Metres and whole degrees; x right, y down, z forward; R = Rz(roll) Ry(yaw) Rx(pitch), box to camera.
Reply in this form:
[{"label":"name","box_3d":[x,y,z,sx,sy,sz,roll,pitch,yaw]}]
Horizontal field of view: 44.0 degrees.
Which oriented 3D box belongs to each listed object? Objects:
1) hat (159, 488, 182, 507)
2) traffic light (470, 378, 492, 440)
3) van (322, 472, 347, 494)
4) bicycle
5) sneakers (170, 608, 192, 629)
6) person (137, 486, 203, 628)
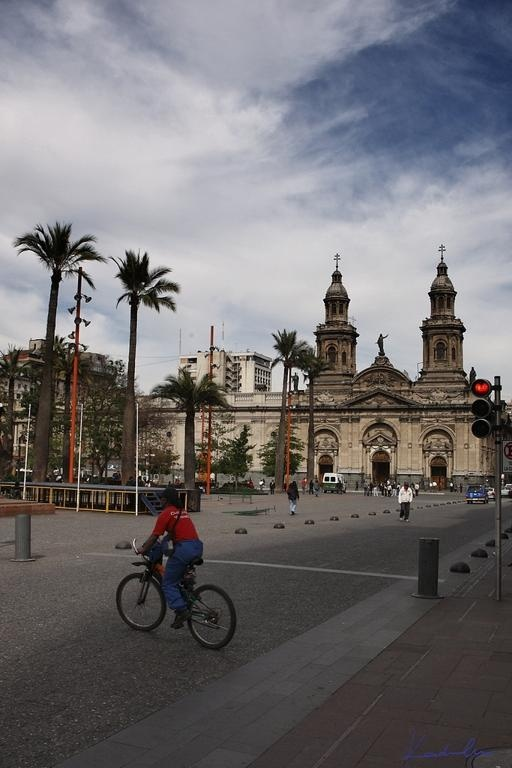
[{"label":"hat","box_3d":[-0.851,1.152,6.507,0.174,0.230,0.233,3,3,0]},{"label":"traffic light","box_3d":[3.357,0.346,9.428,0.323,0.850,1.734,-1,-5,20]},{"label":"van","box_3d":[8.438,10.543,68.110,1.540,1.581,2.699,0,-2,20]},{"label":"bicycle","box_3d":[-0.607,2.173,6.719,1.534,0.912,0.763,-1,-2,40]},{"label":"sneakers","box_3d":[-0.746,2.318,6.319,0.143,0.251,0.334,2,-5,-17]},{"label":"person","box_3d":[-0.837,1.724,6.375,0.577,1.363,0.350,1,-4,4]}]
